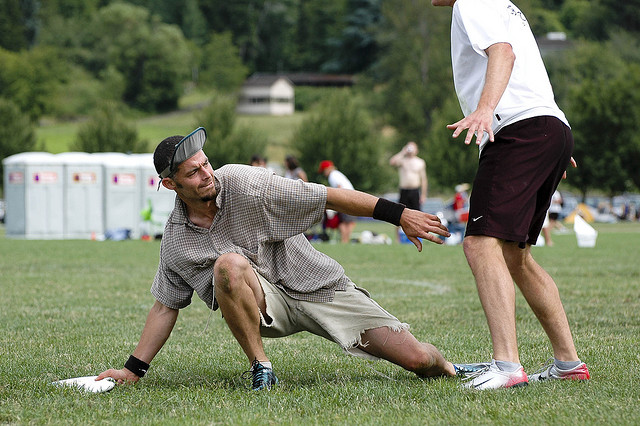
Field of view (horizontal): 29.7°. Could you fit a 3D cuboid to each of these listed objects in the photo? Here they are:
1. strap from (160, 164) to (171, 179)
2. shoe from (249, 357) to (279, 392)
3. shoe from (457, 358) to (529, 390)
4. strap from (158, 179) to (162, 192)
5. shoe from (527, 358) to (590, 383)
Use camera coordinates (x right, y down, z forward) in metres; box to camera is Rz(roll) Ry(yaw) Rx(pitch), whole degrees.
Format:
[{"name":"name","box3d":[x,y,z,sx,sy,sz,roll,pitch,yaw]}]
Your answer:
[{"name":"strap","box3d":[-1.386,-0.374,10.754,0.035,0.089,0.071,45,23,9]},{"name":"shoe","box3d":[-0.536,1.475,10.964,0.199,0.266,0.610,-28,-2,2]},{"name":"shoe","box3d":[1.578,1.464,10.874,0.714,0.333,0.250,-2,-9,1]},{"name":"strap","box3d":[-1.458,-0.269,10.907,0.012,0.082,0.009,12,10,1]},{"name":"shoe","box3d":[2.182,1.430,11.018,0.545,0.236,0.224,-2,-6,21]}]
